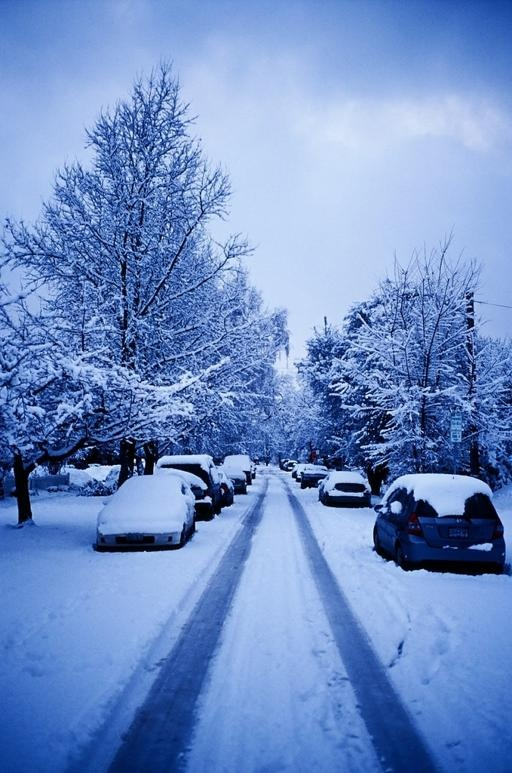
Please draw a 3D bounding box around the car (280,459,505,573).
[{"bbox_3d":[2.398,1.921,9.426,1.119,1.366,2.092,0,-1,-19],"label":"car"}]
